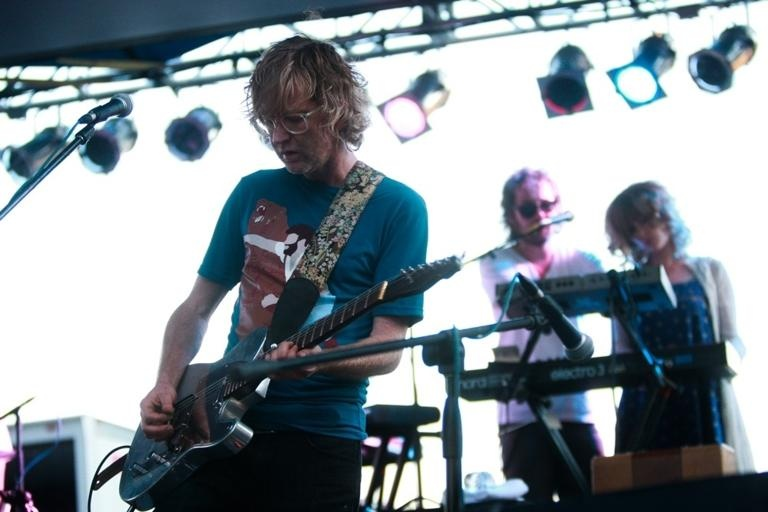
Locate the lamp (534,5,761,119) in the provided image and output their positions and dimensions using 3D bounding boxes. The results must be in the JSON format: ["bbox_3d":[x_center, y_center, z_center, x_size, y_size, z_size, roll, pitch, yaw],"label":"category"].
[{"bbox_3d":[2.465,-1.496,6.780,2.209,0.678,0.941,-8,8,24],"label":"lamp"}]

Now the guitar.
[{"bbox_3d":[-0.567,0.639,3.943,1.600,1.013,0.176,-11,-26,26],"label":"guitar"}]

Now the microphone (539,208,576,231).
[{"bbox_3d":[1.139,-0.240,5.478,0.378,0.091,0.192,-13,8,-27],"label":"microphone"}]

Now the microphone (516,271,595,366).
[{"bbox_3d":[0.797,0.307,3.846,0.185,0.182,0.614,-29,-69,34],"label":"microphone"}]
